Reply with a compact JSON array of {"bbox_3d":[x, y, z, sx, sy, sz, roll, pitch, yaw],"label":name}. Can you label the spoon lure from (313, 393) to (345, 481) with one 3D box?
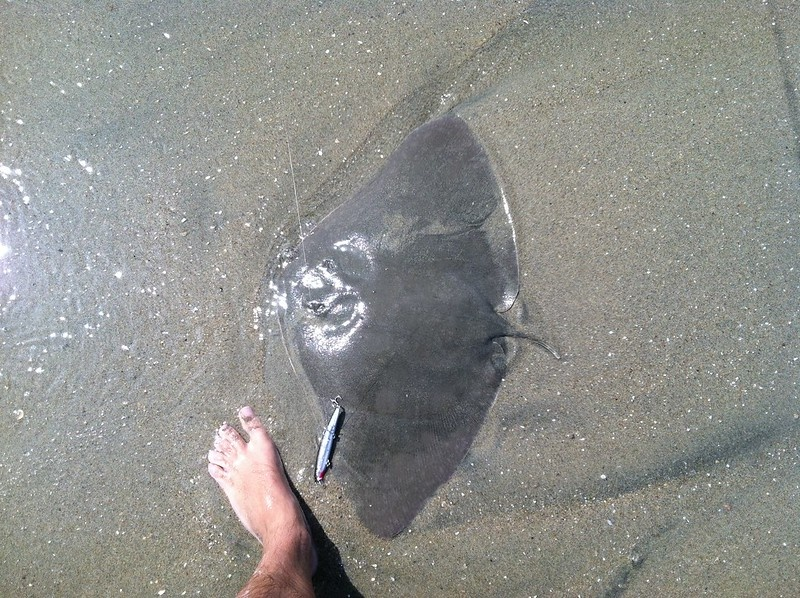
[{"bbox_3d":[-0.676,1.410,9.256,0.194,0.099,0.974,15,89,20],"label":"spoon lure"}]
